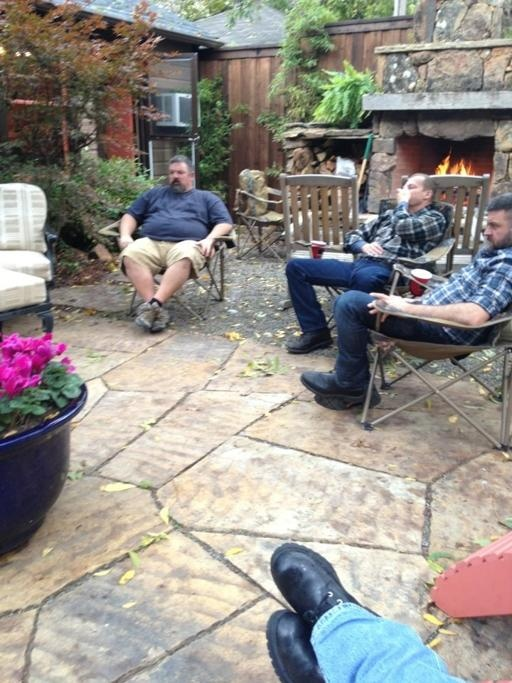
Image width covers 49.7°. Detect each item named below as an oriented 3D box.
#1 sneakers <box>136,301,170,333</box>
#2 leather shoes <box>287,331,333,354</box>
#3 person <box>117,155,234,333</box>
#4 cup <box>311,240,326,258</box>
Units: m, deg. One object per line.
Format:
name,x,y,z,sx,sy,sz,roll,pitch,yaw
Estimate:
sneakers,-0.739,-0.186,3.933,0.209,0.229,0.248,-2,18,-7
leather shoes,0.340,0.004,3.571,0.336,0.140,0.121,-5,10,-15
person,-0.674,-0.812,4.234,0.981,1.346,0.864,5,4,13
cup,0.426,-0.651,3.840,0.130,0.112,0.115,6,19,18
